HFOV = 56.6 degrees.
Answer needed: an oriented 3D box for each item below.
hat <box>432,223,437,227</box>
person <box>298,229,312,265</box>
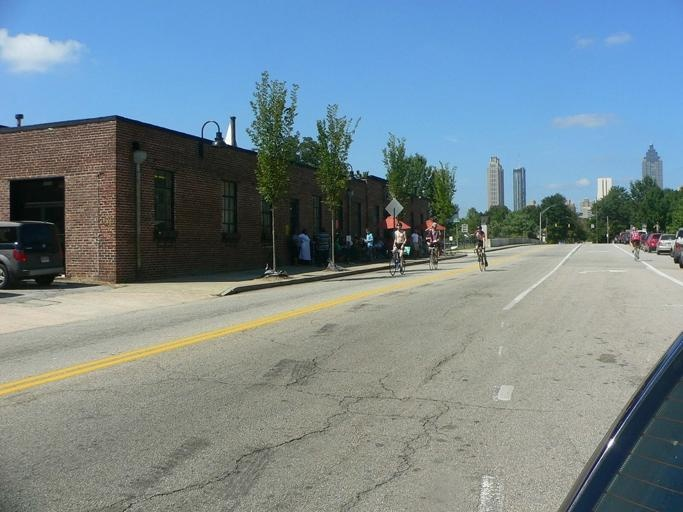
[{"bbox_3d":[5.898,-1.991,40.683,0.350,0.234,0.542,4,-1,29],"label":"hat"},{"bbox_3d":[-1.741,-0.436,29.167,0.535,1.618,1.214,-1,5,-3],"label":"person"}]
